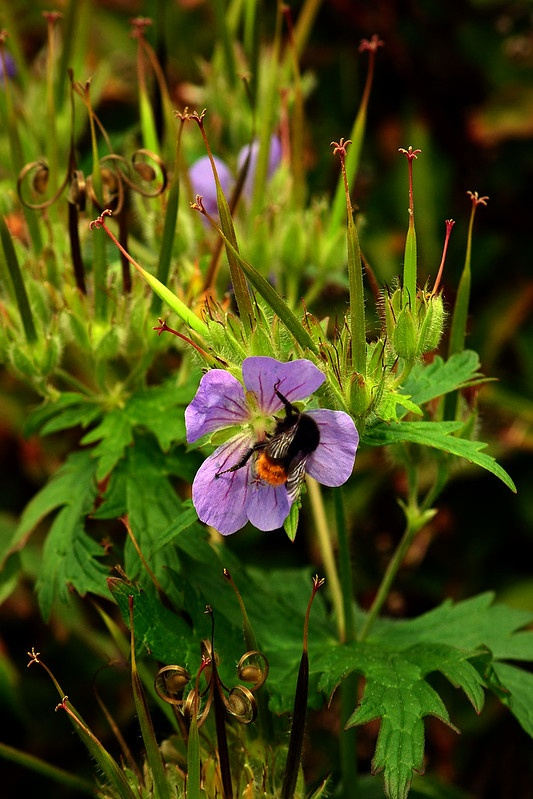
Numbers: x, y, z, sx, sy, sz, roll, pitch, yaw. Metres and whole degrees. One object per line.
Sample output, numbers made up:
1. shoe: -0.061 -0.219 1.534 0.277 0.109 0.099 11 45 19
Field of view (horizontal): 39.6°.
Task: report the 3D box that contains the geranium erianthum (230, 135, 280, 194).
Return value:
1. geranium erianthum: -0.011 -0.376 1.213 0.066 0.108 0.062 -1 17 -5
